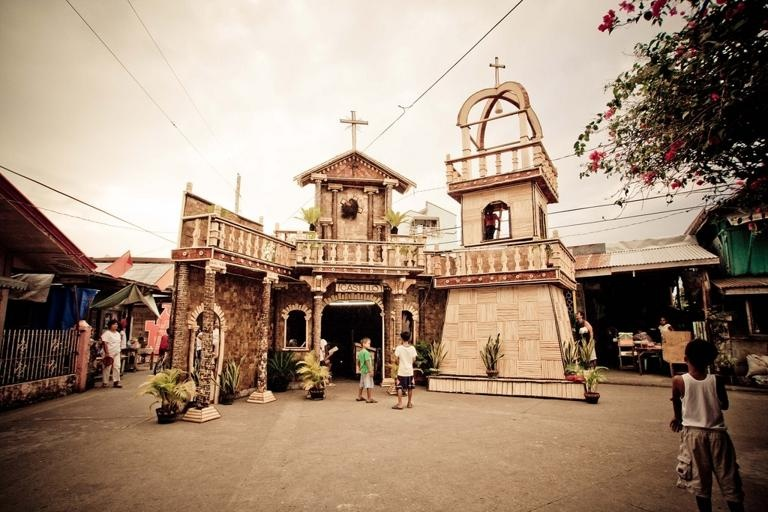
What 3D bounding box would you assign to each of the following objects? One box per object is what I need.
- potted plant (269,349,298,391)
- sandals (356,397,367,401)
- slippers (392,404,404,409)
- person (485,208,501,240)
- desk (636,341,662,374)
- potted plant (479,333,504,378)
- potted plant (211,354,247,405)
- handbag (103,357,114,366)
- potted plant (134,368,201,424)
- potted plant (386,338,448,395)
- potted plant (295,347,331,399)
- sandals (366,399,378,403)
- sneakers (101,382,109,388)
[{"bbox_3d":[-4.205,4.759,18.951,0.812,1.564,1.394,-9,-16,32],"label":"potted plant"},{"bbox_3d":[-0.835,5.134,16.521,0.330,0.122,0.120,2,-9,-11],"label":"sandals"},{"bbox_3d":[0.425,4.947,15.060,0.274,0.110,0.150,4,-13,7],"label":"slippers"},{"bbox_3d":[4.852,-1.503,20.798,0.678,1.665,0.724,-4,-14,16],"label":"person"},{"bbox_3d":[12.414,4.638,21.389,1.686,1.284,1.346,-2,-5,16],"label":"desk"},{"bbox_3d":[4.251,3.892,18.153,0.794,1.717,0.414,2,-14,-11],"label":"potted plant"},{"bbox_3d":[-5.583,4.448,16.409,0.551,1.516,0.905,-1,-14,4],"label":"potted plant"},{"bbox_3d":[-11.256,4.286,18.764,0.362,0.383,0.275,10,-17,-38],"label":"handbag"},{"bbox_3d":[-6.339,4.106,13.571,1.516,1.378,1.426,-8,-8,34],"label":"potted plant"},{"bbox_3d":[1.538,4.437,19.798,2.224,2.249,1.979,-7,-37,10],"label":"potted plant"},{"bbox_3d":[-2.668,4.445,17.282,1.043,1.737,1.221,2,-14,-12],"label":"potted plant"},{"bbox_3d":[-0.441,5.119,16.277,0.362,0.140,0.135,2,-11,-4],"label":"sandals"},{"bbox_3d":[-11.405,5.276,18.812,0.361,0.248,0.187,2,-4,-17],"label":"sneakers"}]
